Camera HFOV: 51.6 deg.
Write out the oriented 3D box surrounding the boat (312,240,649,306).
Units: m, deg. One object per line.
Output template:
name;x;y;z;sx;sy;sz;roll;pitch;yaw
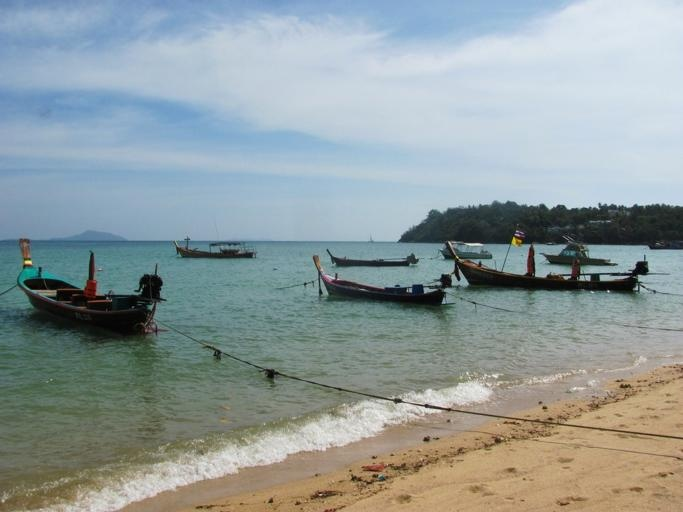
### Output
boat;9.580;1.332;48.746;19.085;2.893;10.500;-4;7;-35
